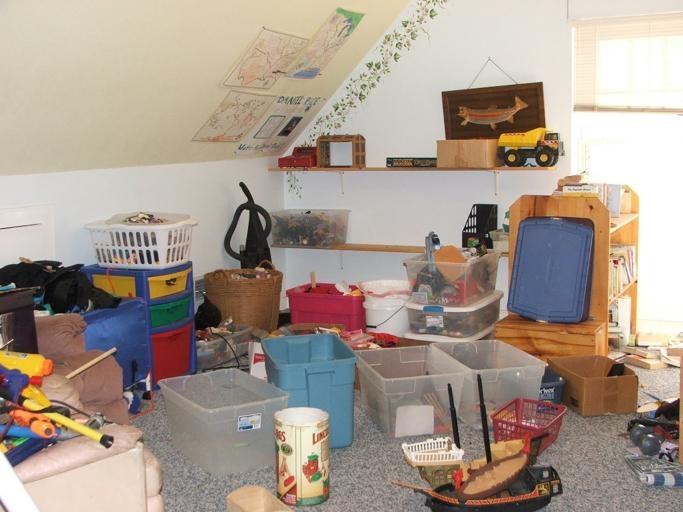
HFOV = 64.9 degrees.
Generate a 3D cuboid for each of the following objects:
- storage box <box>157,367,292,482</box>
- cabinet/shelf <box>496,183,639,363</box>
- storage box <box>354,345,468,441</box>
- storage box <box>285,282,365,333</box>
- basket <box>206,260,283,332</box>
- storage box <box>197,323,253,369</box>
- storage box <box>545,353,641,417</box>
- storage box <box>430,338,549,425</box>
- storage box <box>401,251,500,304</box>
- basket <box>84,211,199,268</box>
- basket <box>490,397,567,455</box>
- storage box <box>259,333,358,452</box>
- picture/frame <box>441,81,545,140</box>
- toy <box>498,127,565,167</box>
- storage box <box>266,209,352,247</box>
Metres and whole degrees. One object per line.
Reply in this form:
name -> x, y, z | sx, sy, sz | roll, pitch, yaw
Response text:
storage box -> -0.582, 0.788, 2.592 | 0.441, 0.267, 0.643 | 2, -1, -35
cabinet/shelf -> 1.452, 0.120, 3.395 | 0.726, 1.123, 1.330 | 1, 4, 26
storage box -> 0.350, 0.685, 2.809 | 0.479, 0.346, 0.402 | -6, 10, -13
storage box -> -0.117, 0.377, 3.959 | 0.522, 0.206, 0.319 | 2, 3, 27
basket -> -0.706, 0.289, 3.977 | 0.572, 0.479, 0.475 | 0, 1, -22
storage box -> -0.792, 0.617, 3.664 | 0.251, 0.137, 0.356 | -1, -2, 27
storage box -> 1.379, 0.702, 2.960 | 0.352, 0.253, 0.276 | -5, 10, -8
storage box -> 0.775, 0.597, 2.849 | 0.451, 0.283, 0.501 | -2, 3, -22
storage box -> 0.768, 0.126, 3.485 | 0.361, 0.186, 0.461 | 3, 6, 43
basket -> -1.205, -0.096, 3.286 | 0.544, 0.311, 0.339 | 0, 10, 16
basket -> 0.860, 0.757, 2.470 | 0.238, 0.114, 0.339 | 5, 13, 31
storage box -> -0.154, 0.615, 2.556 | 0.420, 0.345, 0.585 | -1, 0, -16
picture/frame -> 1.234, -1.169, 4.260 | 0.657, 0.329, 0.032 | -1, 7, 22
toy -> 1.430, -0.827, 4.068 | 0.491, 0.276, 0.282 | 1, 6, 21
storage box -> -0.306, -0.245, 4.752 | 0.589, 0.248, 0.357 | 0, 2, 22
